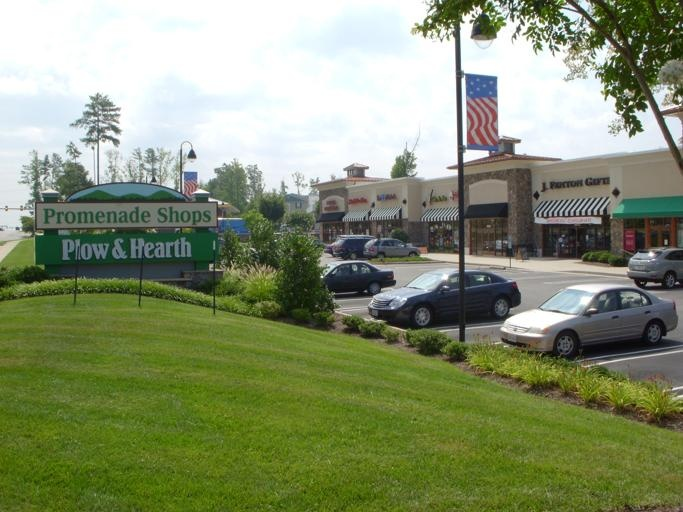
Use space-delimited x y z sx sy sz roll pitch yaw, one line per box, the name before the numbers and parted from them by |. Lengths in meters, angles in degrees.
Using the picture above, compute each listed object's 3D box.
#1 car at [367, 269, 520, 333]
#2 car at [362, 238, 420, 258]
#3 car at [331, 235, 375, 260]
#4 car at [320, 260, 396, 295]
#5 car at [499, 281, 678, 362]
car | 3.069 1.226 19.498 4.175 1.605 1.718 -1 15 -29
car | 3.397 -0.507 46.017 3.206 1.292 1.543 -3 4 -16
car | 0.855 -0.524 46.728 2.648 1.212 1.474 -6 6 -17
car | 0.593 0.844 25.666 2.473 0.906 1.155 3 -1 -24
car | 5.800 1.465 15.878 3.906 1.466 1.712 0 -1 -27
